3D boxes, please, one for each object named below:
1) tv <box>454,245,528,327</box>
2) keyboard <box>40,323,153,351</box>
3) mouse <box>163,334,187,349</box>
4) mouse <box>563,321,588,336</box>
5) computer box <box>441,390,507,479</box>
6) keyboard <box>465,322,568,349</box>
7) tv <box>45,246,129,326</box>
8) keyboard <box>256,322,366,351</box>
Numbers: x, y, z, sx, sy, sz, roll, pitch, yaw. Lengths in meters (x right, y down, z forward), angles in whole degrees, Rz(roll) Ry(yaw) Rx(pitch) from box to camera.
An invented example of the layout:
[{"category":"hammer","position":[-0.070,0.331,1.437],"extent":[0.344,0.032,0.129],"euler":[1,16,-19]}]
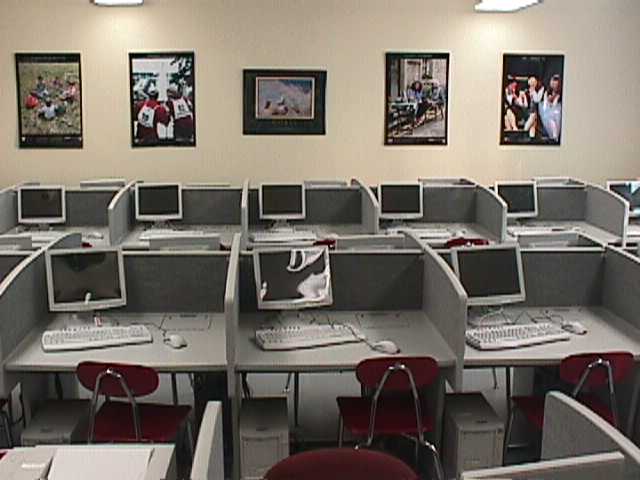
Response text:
[{"category":"tv","position":[0.976,0.268,3.203],"extent":[0.362,0.423,0.182],"euler":[-6,10,-15]},{"category":"keyboard","position":[-1.187,0.510,2.983],"extent":[0.562,0.070,0.260],"euler":[-4,15,-11]},{"category":"mouse","position":[-0.770,0.529,2.916],"extent":[0.071,0.040,0.103],"euler":[-15,17,-41]},{"category":"mouse","position":[1.455,0.500,3.162],"extent":[0.076,0.024,0.081],"euler":[2,15,9]},{"category":"computer box","position":[0.777,1.035,2.903],"extent":[0.280,0.346,0.320],"euler":[-2,14,-3]},{"category":"keyboard","position":[1.072,0.531,3.024],"extent":[0.383,0.055,0.229],"euler":[-5,12,-12]},{"category":"tv","position":[-1.342,0.264,3.136],"extent":[0.377,0.424,0.132],"euler":[-2,1,-16]},{"category":"keyboard","position":[-0.060,0.515,3.018],"extent":[0.594,0.060,0.252],"euler":[-4,15,-12]}]
